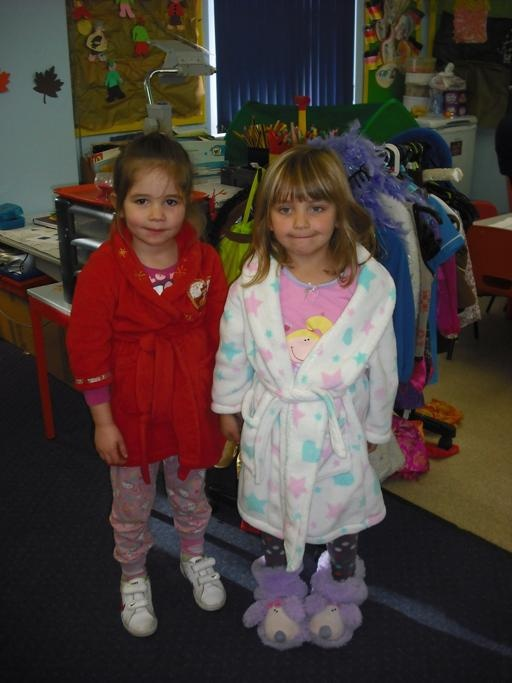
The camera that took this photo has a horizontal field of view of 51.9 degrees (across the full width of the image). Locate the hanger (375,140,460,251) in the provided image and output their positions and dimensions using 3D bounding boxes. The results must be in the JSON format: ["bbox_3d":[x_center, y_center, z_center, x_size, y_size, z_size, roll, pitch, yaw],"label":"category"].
[{"bbox_3d":[0.443,-0.410,1.435,0.160,0.358,0.304,-11,-6,22],"label":"hanger"}]

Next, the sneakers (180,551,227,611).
[{"bbox_3d":[-0.133,0.589,1.324,0.067,0.065,0.160,-8,17,-26],"label":"sneakers"}]

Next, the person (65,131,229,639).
[{"bbox_3d":[-0.198,0.127,1.147,0.354,1.084,0.204,-12,21,-20],"label":"person"}]

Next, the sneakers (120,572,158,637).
[{"bbox_3d":[-0.266,0.614,1.238,0.063,0.056,0.149,-2,8,-14],"label":"sneakers"}]

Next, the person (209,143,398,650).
[{"bbox_3d":[0.103,0.175,1.063,0.372,1.075,0.301,-6,20,-5],"label":"person"}]
